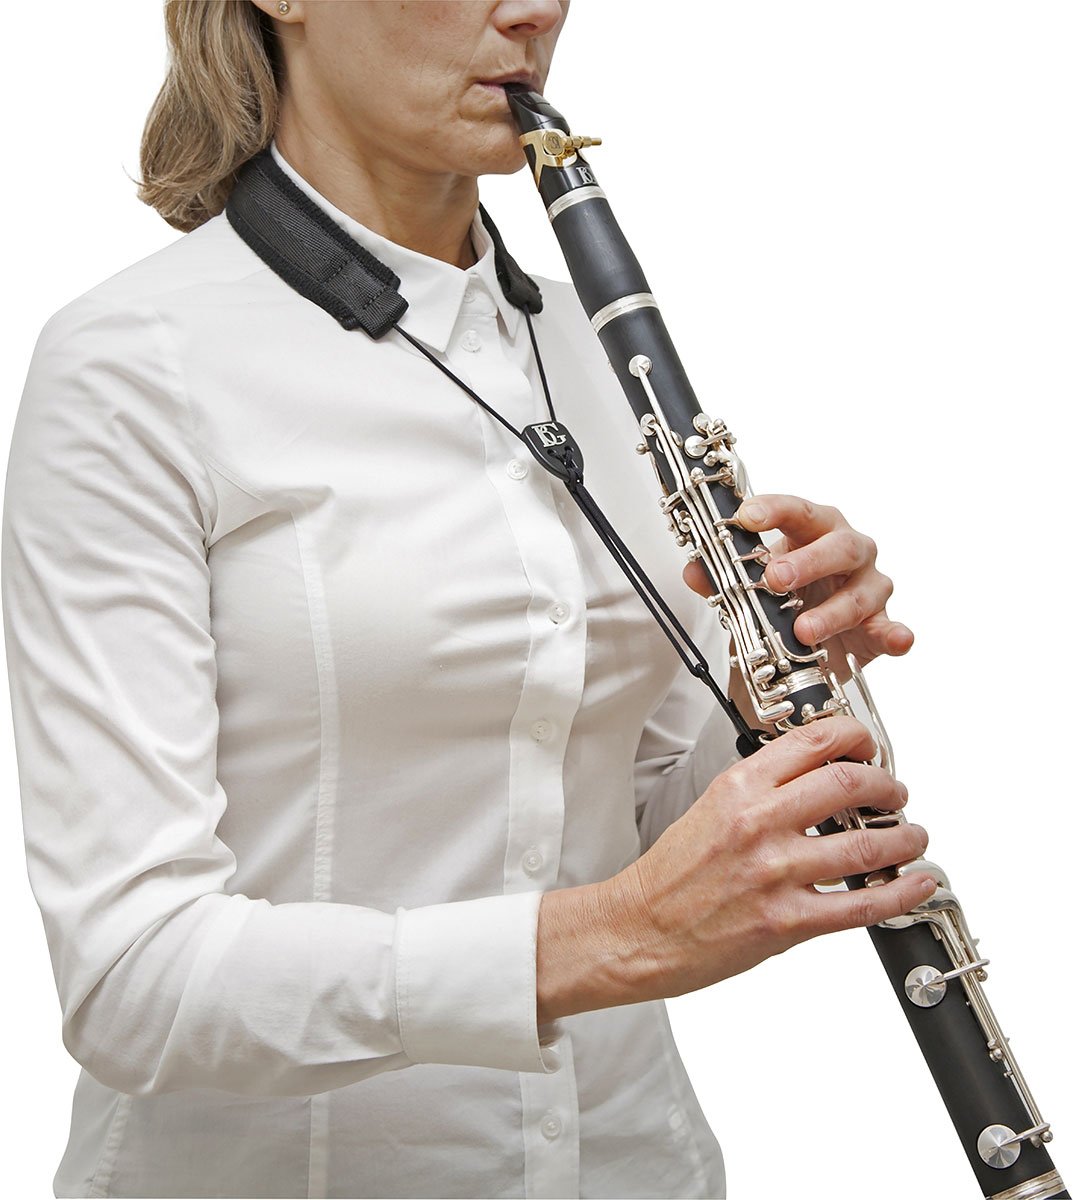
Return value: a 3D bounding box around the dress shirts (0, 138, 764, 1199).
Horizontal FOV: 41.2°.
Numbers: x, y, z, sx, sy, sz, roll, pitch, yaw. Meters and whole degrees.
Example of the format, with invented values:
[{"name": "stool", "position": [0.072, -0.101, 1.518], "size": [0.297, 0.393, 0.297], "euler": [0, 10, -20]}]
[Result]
[{"name": "dress shirts", "position": [-0.213, 0.143, 2.018], "size": [1.030, 1.467, 0.736], "euler": [-4, -31, -29]}]
